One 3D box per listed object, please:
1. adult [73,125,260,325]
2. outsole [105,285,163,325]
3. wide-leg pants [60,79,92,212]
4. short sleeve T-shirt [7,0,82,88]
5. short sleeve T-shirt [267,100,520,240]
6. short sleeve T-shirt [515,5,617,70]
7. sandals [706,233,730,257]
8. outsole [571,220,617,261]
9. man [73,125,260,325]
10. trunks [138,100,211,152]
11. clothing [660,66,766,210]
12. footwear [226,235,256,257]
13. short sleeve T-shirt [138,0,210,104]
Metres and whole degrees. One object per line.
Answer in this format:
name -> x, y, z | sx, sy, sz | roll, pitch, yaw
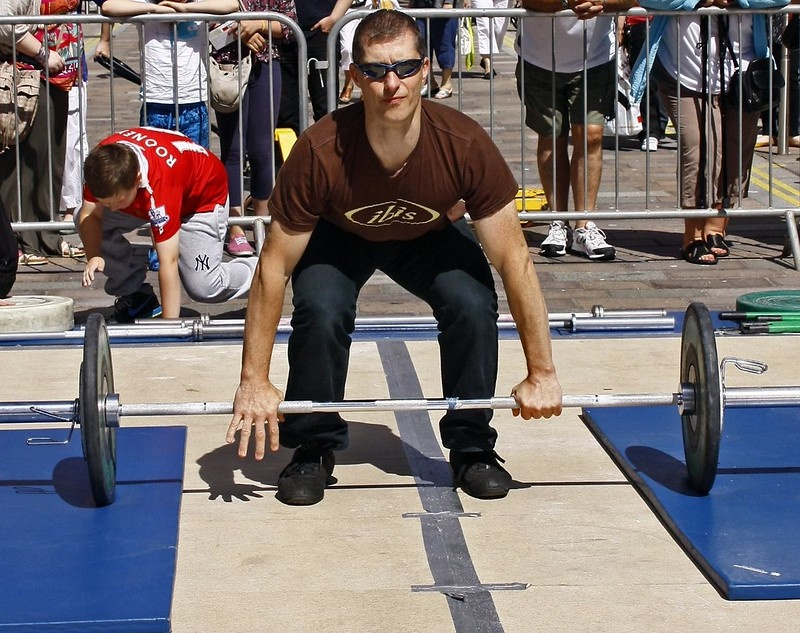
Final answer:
adult -> -1.230, -0.466, 7.495 | 0.551, 0.907, 0.897 | 33, 51, 18
outsole -> -1.418, -0.050, 7.591 | 0.410, 0.238, 0.134 | -4, 8, -8
wide-leg pants -> -2.047, -1.117, 9.273 | 0.219, 0.738, 0.157 | -12, 20, -32
short sleeve T-shirt -> -2.205, -1.683, 8.686 | 0.343, 0.574, 0.467 | -8, -22, 7
short sleeve T-shirt -> -0.014, -0.524, 5.463 | 0.970, 0.616, 0.448 | 0, 47, 2
short sleeve T-shirt -> 1.051, -1.793, 9.010 | 0.550, 0.357, 0.647 | 1, 15, 8
sandals -> 2.015, -0.450, 8.949 | 0.103, 0.078, 0.195 | -3, 16, -3
outsole -> 1.239, -0.493, 9.061 | 0.181, 0.209, 0.480 | -5, 12, -17
man -> -1.230, -0.466, 7.495 | 0.551, 0.907, 0.897 | 33, 51, 18
trunks -> -1.430, -1.254, 8.981 | 0.429, 0.377, 0.241 | -3, 33, -13
clothing -> 1.907, -1.071, 8.695 | 0.573, 0.926, 0.288 | 3, 14, 9
footwear -> -1.020, -0.439, 9.023 | 0.108, 0.087, 0.222 | -6, 9, -28
short sleeve T-shirt -> -1.375, -1.648, 8.606 | 0.563, 0.749, 0.414 | -2, 27, -6
